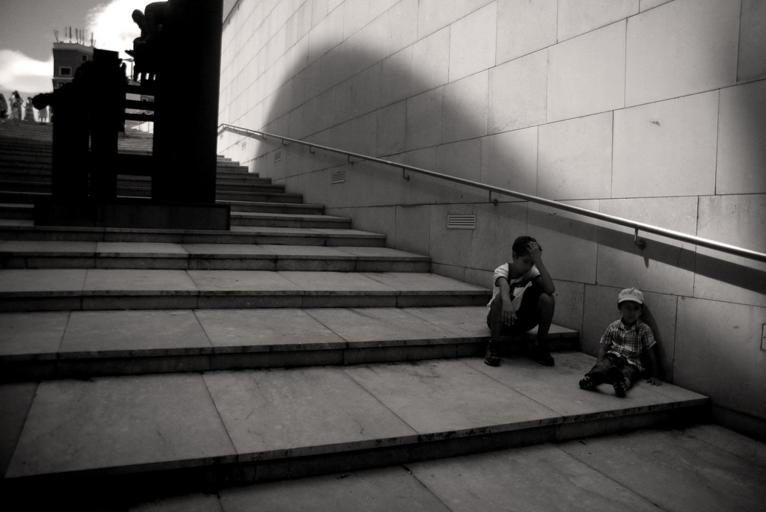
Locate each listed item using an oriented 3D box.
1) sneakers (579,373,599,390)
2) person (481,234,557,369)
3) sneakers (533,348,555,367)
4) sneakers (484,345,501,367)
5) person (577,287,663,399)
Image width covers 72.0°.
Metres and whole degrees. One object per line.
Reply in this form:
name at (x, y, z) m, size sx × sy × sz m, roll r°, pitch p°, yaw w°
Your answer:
sneakers at (1.862, 1.156, 4.799) m, size 0.135 × 0.130 × 0.138 m, roll -1°, pitch 7°, yaw -13°
person at (1.433, 0.457, 5.345) m, size 0.701 × 1.283 × 0.505 m, roll 6°, pitch 7°, yaw 10°
sneakers at (1.632, 1.027, 5.370) m, size 0.110 × 0.108 × 0.242 m, roll 1°, pitch 10°, yaw -5°
sneakers at (1.100, 0.991, 5.258) m, size 0.158 × 0.189 × 0.131 m, roll 7°, pitch 7°, yaw 13°
person at (2.235, 0.766, 4.957) m, size 0.541 × 0.931 × 0.926 m, roll 0°, pitch 0°, yaw 42°
